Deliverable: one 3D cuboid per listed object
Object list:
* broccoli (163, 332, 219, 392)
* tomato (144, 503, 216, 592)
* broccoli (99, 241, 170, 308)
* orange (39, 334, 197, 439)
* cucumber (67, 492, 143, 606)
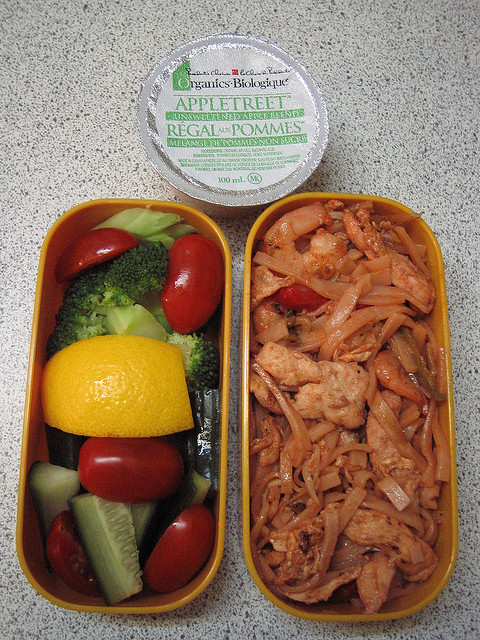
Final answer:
[{"bbox_3d":[-0.129,0.114,1.736,0.141,0.072,0.151,-11,84,19],"label":"broccoli"},{"bbox_3d":[-0.146,0.583,1.621,0.117,0.115,0.239,34,79,11],"label":"tomato"},{"bbox_3d":[-0.283,-0.142,1.793,0.200,0.141,0.254,-10,32,-18],"label":"broccoli"},{"bbox_3d":[-0.322,0.167,1.618,0.383,0.135,0.256,-2,75,2],"label":"orange"},{"bbox_3d":[-0.308,0.563,1.586,0.158,0.072,0.263,-12,90,15],"label":"cucumber"}]
